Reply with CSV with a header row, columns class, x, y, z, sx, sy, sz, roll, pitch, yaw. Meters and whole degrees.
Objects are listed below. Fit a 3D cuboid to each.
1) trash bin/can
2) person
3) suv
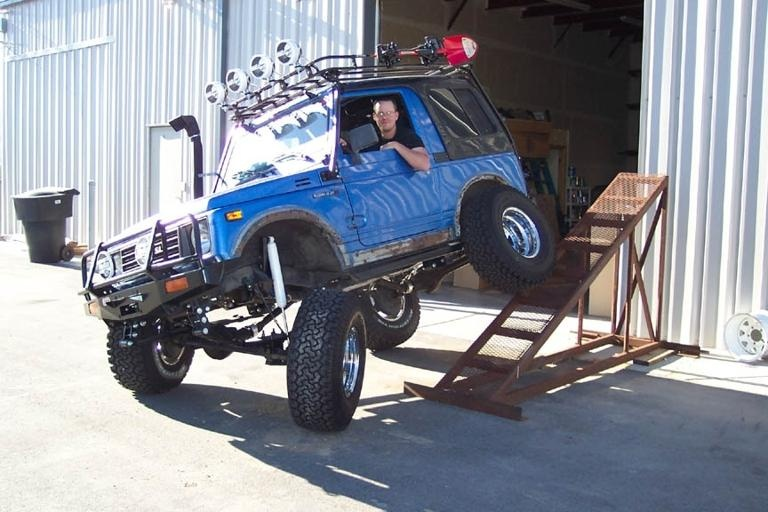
class,x,y,z,sx,sy,sz,roll,pitch,yaw
trash bin/can,-7.775,-0.730,16.391,1.644,1.859,1.586,-4,8,-24
person,0.033,-1.386,8.005,0.861,0.741,0.477,-6,9,17
suv,-0.590,-0.514,9.009,3.523,4.004,6.252,-7,8,44
